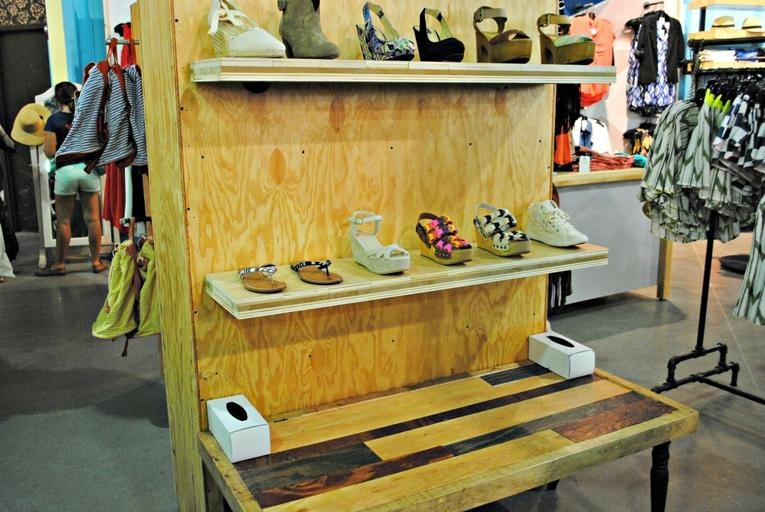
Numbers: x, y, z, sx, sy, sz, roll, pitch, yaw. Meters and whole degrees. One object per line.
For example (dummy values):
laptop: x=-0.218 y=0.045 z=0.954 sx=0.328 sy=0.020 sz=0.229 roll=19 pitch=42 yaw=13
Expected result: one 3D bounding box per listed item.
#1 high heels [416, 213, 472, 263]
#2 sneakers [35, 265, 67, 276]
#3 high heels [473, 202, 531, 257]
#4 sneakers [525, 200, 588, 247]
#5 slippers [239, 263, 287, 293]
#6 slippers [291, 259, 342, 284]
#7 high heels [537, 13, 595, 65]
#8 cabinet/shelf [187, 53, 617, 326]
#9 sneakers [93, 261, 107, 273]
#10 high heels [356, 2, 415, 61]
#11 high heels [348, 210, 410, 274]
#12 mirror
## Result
high heels: x=0.261 y=-0.080 z=2.500 sx=0.151 sy=0.174 sz=0.419 roll=-4 pitch=12 yaw=-18
sneakers: x=-3.687 y=0.148 z=6.464 sx=0.282 sy=0.097 sz=0.127 roll=3 pitch=1 yaw=-12
high heels: x=0.516 y=-0.112 z=2.566 sx=0.164 sy=0.173 sz=0.423 roll=-7 pitch=13 yaw=-14
sneakers: x=0.780 y=-0.151 z=2.610 sx=0.133 sy=0.165 sz=0.376 roll=-12 pitch=21 yaw=-20
slippers: x=-0.458 y=0.080 z=2.224 sx=0.153 sy=0.058 sz=0.246 roll=-9 pitch=16 yaw=-21
slippers: x=-0.256 y=0.054 z=2.292 sx=0.161 sy=0.059 sz=0.239 roll=-8 pitch=16 yaw=-19
high heels: x=0.801 y=-0.941 z=2.519 sx=0.154 sy=0.205 sz=0.297 roll=-14 pitch=23 yaw=-31
cabinet/shelf: x=0.032 y=-0.288 z=2.479 sx=2.106 sy=1.080 sz=0.539 roll=-5 pitch=11 yaw=-27
sneakers: x=-3.195 y=0.106 z=6.593 sx=0.088 sy=0.078 sz=0.193 roll=3 pitch=16 yaw=0
high heels: x=-0.031 y=-0.921 z=2.336 sx=0.143 sy=0.179 sz=0.420 roll=-18 pitch=43 yaw=-24
high heels: x=-0.024 y=-0.075 z=2.398 sx=0.211 sy=0.226 sz=0.308 roll=-6 pitch=16 yaw=-9
mirror: x=-3.403 y=-0.899 z=6.568 sx=0.703 sy=2.121 sz=0.681 roll=-2 pitch=1 yaw=-22
